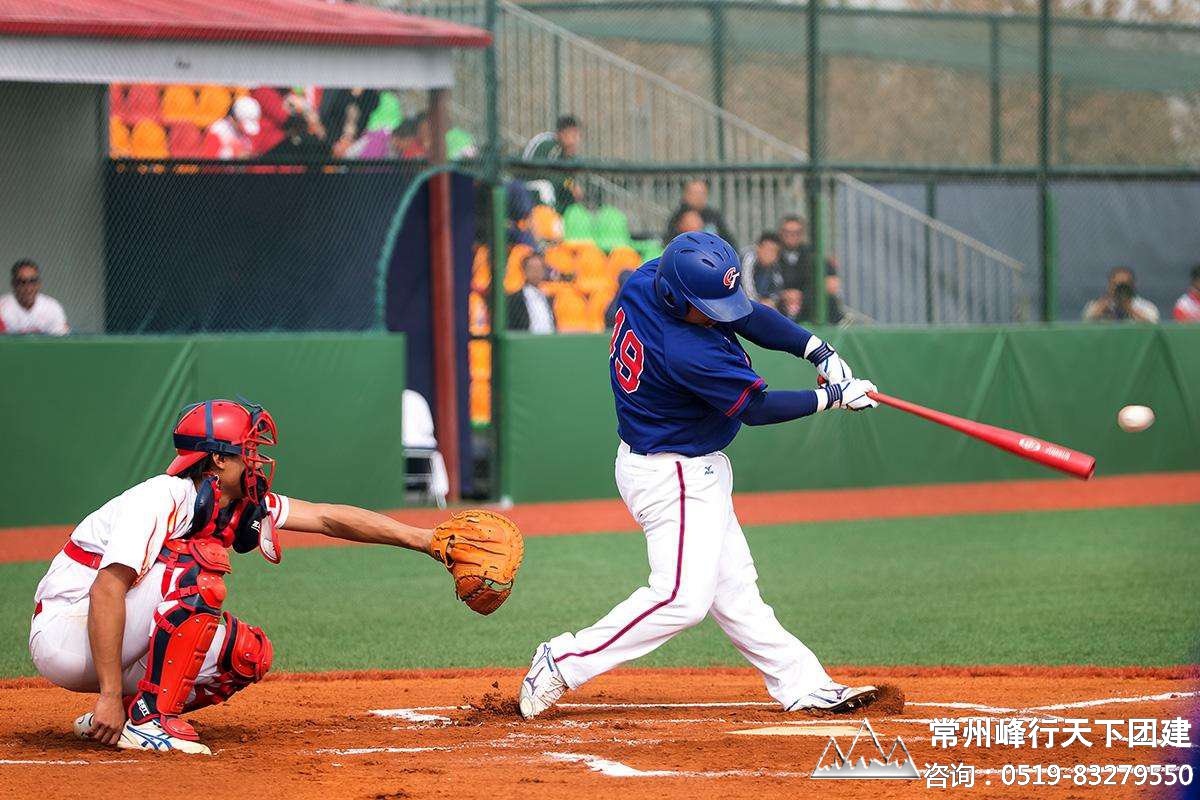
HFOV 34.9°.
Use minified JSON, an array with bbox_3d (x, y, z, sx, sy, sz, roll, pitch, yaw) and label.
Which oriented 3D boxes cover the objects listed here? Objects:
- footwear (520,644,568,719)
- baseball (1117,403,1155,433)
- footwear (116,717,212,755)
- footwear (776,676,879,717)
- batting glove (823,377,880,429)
[{"bbox_3d":[-0.361,1.909,12.784,0.259,0.656,0.210,4,-15,18],"label":"footwear"},{"bbox_3d":[3.830,0.133,13.750,0.210,0.180,0.364,4,5,19],"label":"baseball"},{"bbox_3d":[-2.812,2.154,12.317,0.625,0.301,0.243,4,-5,-4],"label":"footwear"},{"bbox_3d":[1.523,1.993,12.897,0.645,0.309,0.244,-3,16,-2],"label":"footwear"},{"bbox_3d":[1.660,-0.012,12.795,0.277,0.145,0.217,9,6,27],"label":"batting glove"}]
